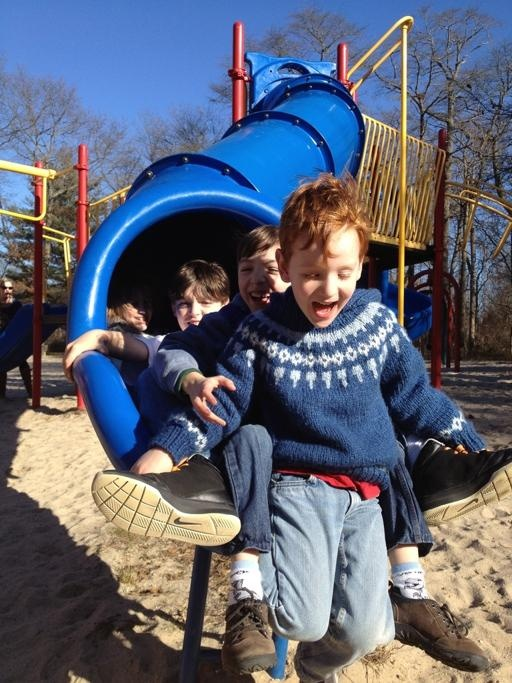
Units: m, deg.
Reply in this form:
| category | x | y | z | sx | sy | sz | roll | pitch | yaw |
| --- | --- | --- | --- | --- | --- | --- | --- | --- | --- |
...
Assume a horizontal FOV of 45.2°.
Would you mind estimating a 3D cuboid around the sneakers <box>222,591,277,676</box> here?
| category | x | y | z | sx | sy | sz | roll | pitch | yaw |
| --- | --- | --- | --- | --- | --- | --- | --- | --- | --- |
| sneakers | -0.017 | 0.639 | 1.332 | 0.114 | 0.156 | 0.159 | -3 | 3 | 0 |

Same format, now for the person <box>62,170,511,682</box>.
| category | x | y | z | sx | sy | sz | roll | pitch | yaw |
| --- | --- | --- | --- | --- | --- | --- | --- | --- | --- |
| person | 0.151 | 0.255 | 1.540 | 1.079 | 1.338 | 0.530 | -4 | 4 | -13 |
